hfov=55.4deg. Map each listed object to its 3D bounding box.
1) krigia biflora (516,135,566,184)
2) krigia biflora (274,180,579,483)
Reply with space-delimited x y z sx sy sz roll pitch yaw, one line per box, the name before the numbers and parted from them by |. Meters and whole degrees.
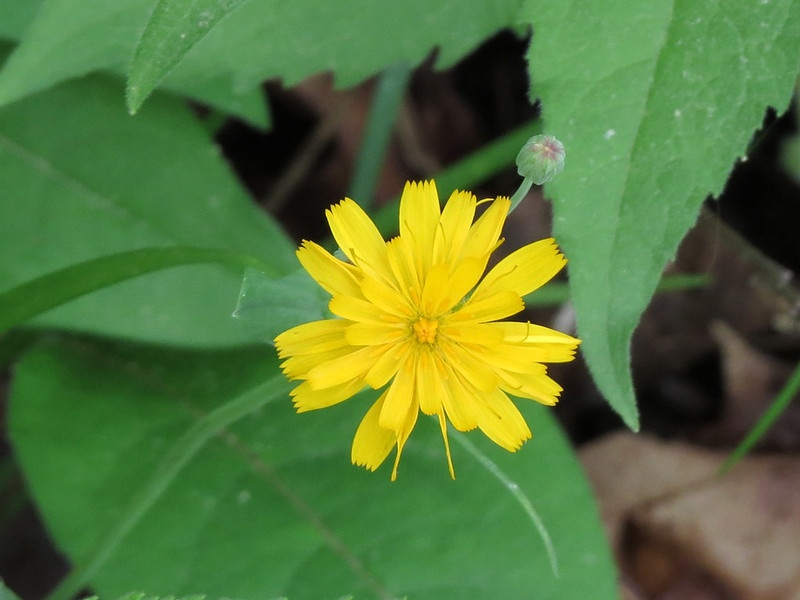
krigia biflora | 0.182 -0.183 0.987 0.055 0.063 0.064 25 95 2
krigia biflora | 0.006 0.030 1.021 0.403 0.451 0.124 -23 100 20
